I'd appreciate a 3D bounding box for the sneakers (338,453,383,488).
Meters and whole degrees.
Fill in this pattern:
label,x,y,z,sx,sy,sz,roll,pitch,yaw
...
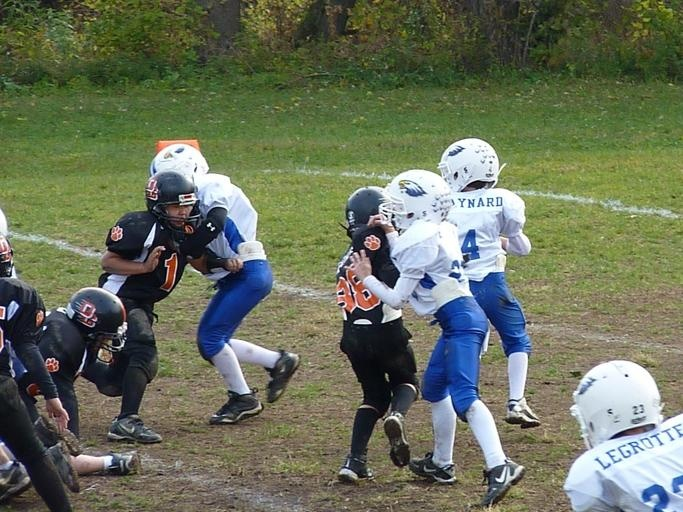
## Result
label,x,y,z,sx,sy,sz,roll,pitch,yaw
sneakers,0.136,1.915,9.294,0.196,0.154,0.463,0,-7,34

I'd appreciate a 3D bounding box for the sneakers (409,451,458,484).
label,x,y,z,sx,sy,sz,roll,pitch,yaw
sneakers,0.801,1.910,9.378,0.588,0.204,0.186,12,-4,21

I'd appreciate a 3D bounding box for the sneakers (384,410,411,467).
label,x,y,z,sx,sy,sz,roll,pitch,yaw
sneakers,0.517,1.598,9.050,0.250,0.429,0.249,-14,1,9

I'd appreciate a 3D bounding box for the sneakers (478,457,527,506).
label,x,y,z,sx,sy,sz,roll,pitch,yaw
sneakers,1.349,1.924,8.753,0.327,0.412,0.241,6,14,6
